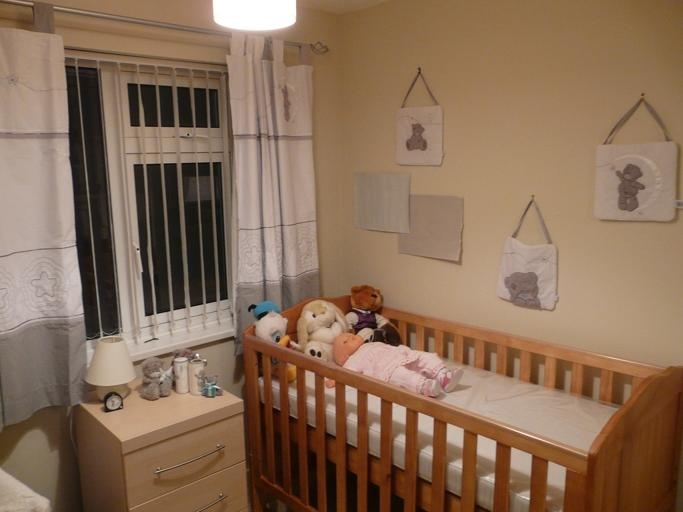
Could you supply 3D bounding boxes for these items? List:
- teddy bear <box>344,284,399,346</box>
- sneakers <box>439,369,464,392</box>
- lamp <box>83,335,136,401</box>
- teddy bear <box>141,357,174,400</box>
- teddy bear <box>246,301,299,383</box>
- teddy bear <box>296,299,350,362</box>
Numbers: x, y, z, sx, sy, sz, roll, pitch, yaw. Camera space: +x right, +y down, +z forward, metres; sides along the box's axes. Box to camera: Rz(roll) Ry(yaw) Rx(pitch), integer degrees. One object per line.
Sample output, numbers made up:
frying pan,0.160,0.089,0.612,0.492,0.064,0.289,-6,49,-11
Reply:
teddy bear,0.181,0.360,3.230,0.320,0.404,0.314,-2,-16,32
sneakers,0.547,0.614,2.619,0.059,0.156,0.090,23,47,5
lamp,-1.117,0.543,2.556,0.212,0.322,0.270,-6,12,-28
teddy bear,-0.938,0.611,2.641,0.128,0.212,0.159,-13,-9,30
teddy bear,-0.367,0.477,2.967,0.214,0.467,0.178,-5,13,16
teddy bear,-0.100,0.434,3.087,0.319,0.362,0.261,-13,-4,-25
